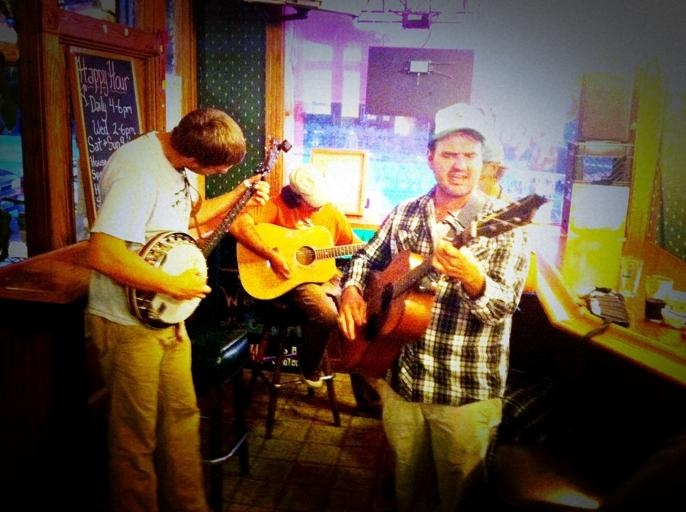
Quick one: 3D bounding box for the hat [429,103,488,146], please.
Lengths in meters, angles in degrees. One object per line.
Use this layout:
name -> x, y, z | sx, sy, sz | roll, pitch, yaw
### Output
hat -> 0.678, -0.771, 3.078 | 0.304, 0.244, 0.329 | 6, 14, 10

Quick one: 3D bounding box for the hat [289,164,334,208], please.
hat -> -0.215, -0.459, 3.564 | 0.233, 0.317, 0.115 | -34, -7, -8

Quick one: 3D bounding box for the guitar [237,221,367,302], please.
guitar -> -0.171, -0.033, 3.656 | 1.043, 0.554, 0.159 | -9, 29, -14

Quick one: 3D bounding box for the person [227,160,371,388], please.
person -> -0.276, 0.048, 3.540 | 0.208, 1.535, 0.654 | -7, -5, -45

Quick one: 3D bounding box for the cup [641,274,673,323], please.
cup -> 1.842, 0.269, 3.090 | 0.156, 0.201, 0.160 | 11, -6, 1

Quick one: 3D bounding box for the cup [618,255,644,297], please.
cup -> 1.687, 0.117, 3.126 | 0.129, 0.225, 0.057 | 5, -5, 18

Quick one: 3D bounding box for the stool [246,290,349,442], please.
stool -> -0.349, 0.680, 3.738 | 0.641, 0.981, 0.613 | -3, -9, 3

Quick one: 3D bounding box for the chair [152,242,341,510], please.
chair -> -0.580, 0.773, 3.293 | 1.139, 1.866, 1.200 | 1, 21, 1

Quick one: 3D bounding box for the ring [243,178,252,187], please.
ring -> -0.564, -0.435, 3.147 | 0.042, 0.044, 0.010 | 4, -2, 10

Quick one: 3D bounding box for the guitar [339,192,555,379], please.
guitar -> 0.414, 0.172, 2.979 | 0.185, 0.614, 1.458 | 21, -41, -21
